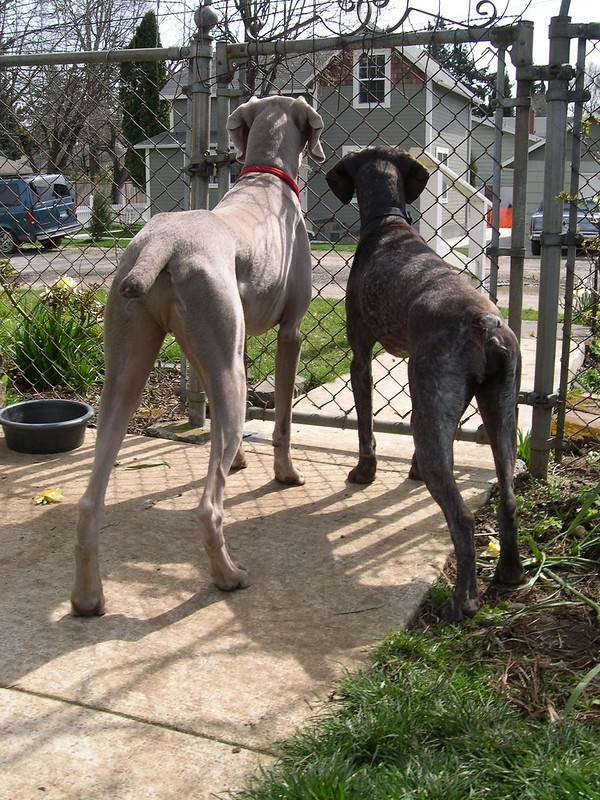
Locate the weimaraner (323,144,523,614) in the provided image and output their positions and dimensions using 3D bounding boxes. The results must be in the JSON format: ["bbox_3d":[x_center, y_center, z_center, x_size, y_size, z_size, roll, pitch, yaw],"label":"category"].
[{"bbox_3d":[0.464,-0.224,2.898,0.513,1.410,1.831,-10,26,-2],"label":"weimaraner"}]
